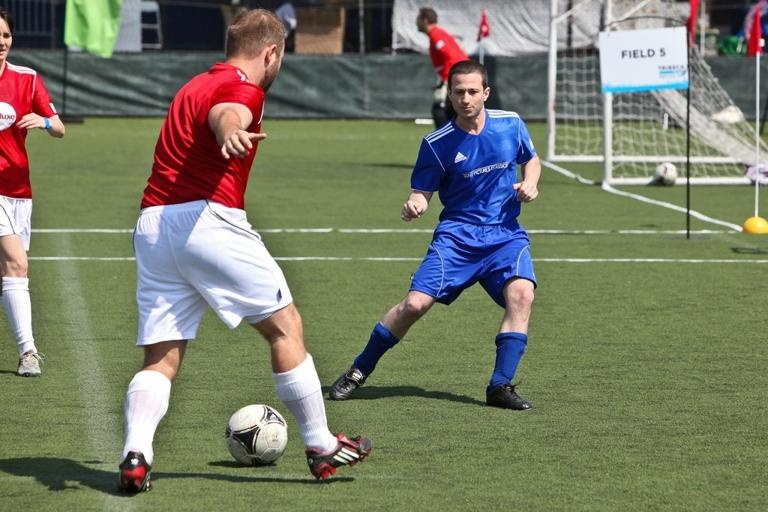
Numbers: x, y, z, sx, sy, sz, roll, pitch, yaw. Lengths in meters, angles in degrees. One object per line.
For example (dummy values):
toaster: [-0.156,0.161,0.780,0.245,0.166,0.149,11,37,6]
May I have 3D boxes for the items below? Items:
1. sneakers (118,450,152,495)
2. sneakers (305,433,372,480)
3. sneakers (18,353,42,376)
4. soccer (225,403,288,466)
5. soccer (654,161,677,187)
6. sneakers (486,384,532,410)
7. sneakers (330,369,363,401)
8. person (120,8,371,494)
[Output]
sneakers: [-1.601,1.405,9.029,0.244,0.266,0.287,2,12,-1]
sneakers: [-0.304,1.331,9.229,0.467,0.202,0.253,-27,17,-27]
sneakers: [-2.721,0.831,10.547,0.167,0.182,0.106,0,11,-14]
soccer: [-0.859,1.228,9.457,0.438,0.391,0.431,3,-11,42]
soccer: [3.975,-1.155,19.427,0.282,0.258,0.352,2,11,11]
sneakers: [0.955,1.041,10.042,0.397,0.158,0.132,2,2,18]
sneakers: [-0.243,0.940,10.327,0.170,0.121,0.358,-17,16,28]
person: [-1.032,-0.032,9.065,1.323,3.150,0.661,1,11,-8]
